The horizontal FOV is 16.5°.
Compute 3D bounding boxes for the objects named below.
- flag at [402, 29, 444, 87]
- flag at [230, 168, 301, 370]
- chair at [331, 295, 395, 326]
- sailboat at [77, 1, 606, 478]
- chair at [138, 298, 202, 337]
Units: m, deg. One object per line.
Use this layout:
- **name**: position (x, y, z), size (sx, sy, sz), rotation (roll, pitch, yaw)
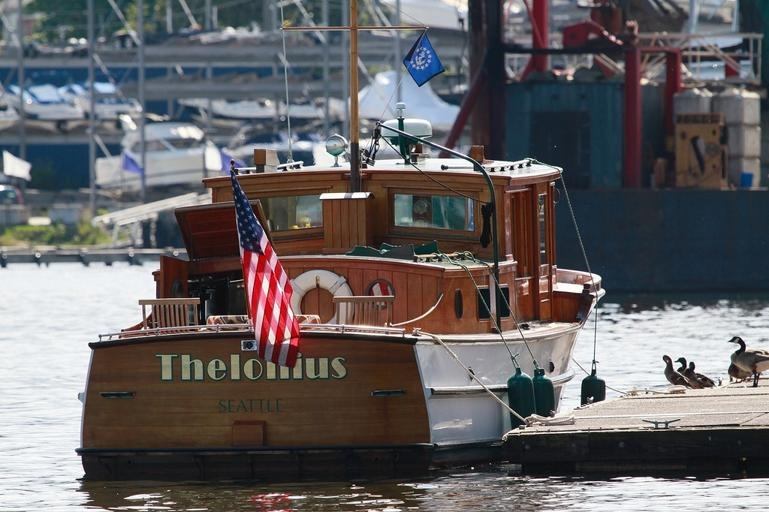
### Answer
- **flag**: position (1.376, -7.292, 98.704), size (1.656, 2.508, 0.001), rotation (9, -35, -8)
- **flag**: position (-4.189, 0.658, 94.464), size (2.242, 6.057, 2.189), rotation (1, -1, -8)
- **chair**: position (-0.736, 1.956, 95.061), size (1.696, 1.135, 2.289), rotation (0, 0, 1)
- **sailboat**: position (0.400, 1.638, 101.446), size (14.020, 12.399, 20.506), rotation (0, 0, 22)
- **chair**: position (-7.549, 2.150, 94.756), size (1.618, 1.334, 1.309), rotation (0, -3, 1)
